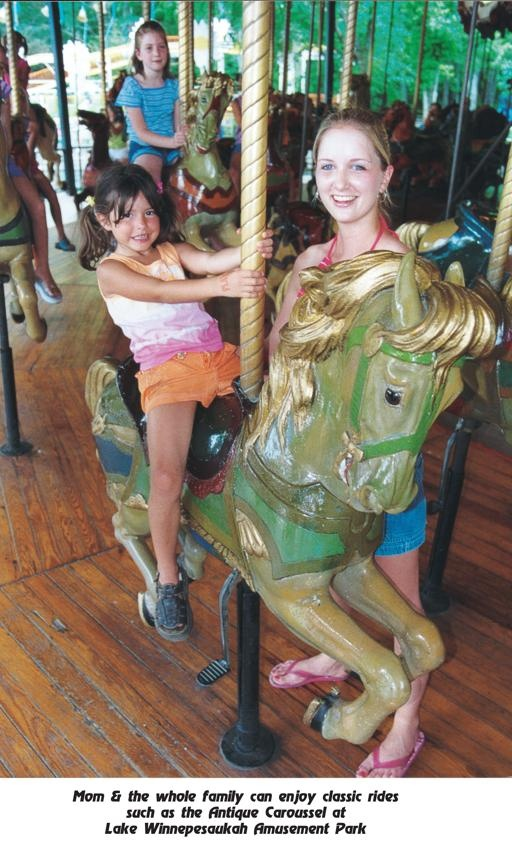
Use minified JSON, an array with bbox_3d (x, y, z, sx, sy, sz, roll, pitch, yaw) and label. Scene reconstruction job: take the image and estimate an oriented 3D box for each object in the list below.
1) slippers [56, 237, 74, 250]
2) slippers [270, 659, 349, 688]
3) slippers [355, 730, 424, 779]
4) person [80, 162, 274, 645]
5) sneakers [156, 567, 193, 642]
[{"bbox_3d":[-1.937,-1.831,6.912,0.107,0.121,0.310,-23,32,-32],"label":"slippers"},{"bbox_3d":[0.162,0.755,2.113,0.235,0.055,0.098,2,26,-2],"label":"slippers"},{"bbox_3d":[0.338,0.857,1.751,0.190,0.038,0.082,-31,17,-36],"label":"slippers"},{"bbox_3d":[-0.201,0.033,1.693,0.345,1.244,0.733,-7,26,-13],"label":"person"},{"bbox_3d":[-0.209,0.447,1.750,0.088,0.091,0.196,-2,69,0],"label":"sneakers"}]
